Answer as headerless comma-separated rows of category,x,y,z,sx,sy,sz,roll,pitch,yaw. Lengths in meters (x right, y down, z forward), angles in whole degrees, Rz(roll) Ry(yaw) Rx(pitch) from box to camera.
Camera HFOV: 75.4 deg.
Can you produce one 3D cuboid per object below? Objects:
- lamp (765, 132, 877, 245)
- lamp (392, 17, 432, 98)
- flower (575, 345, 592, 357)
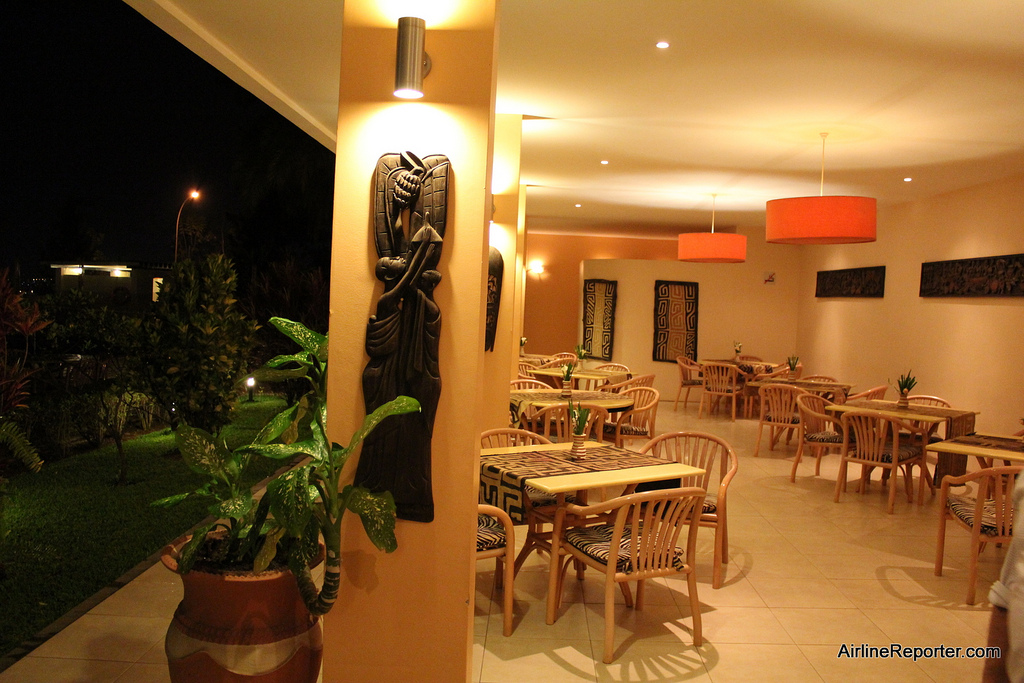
lamp,3.291,-1.534,7.474,1.187,1.376,1.254,3,5,23
lamp,-0.517,-1.486,3.458,0.195,0.399,0.177,0,8,-10
flower,1.363,0.177,12.488,0.201,0.230,0.207,0,9,-2
